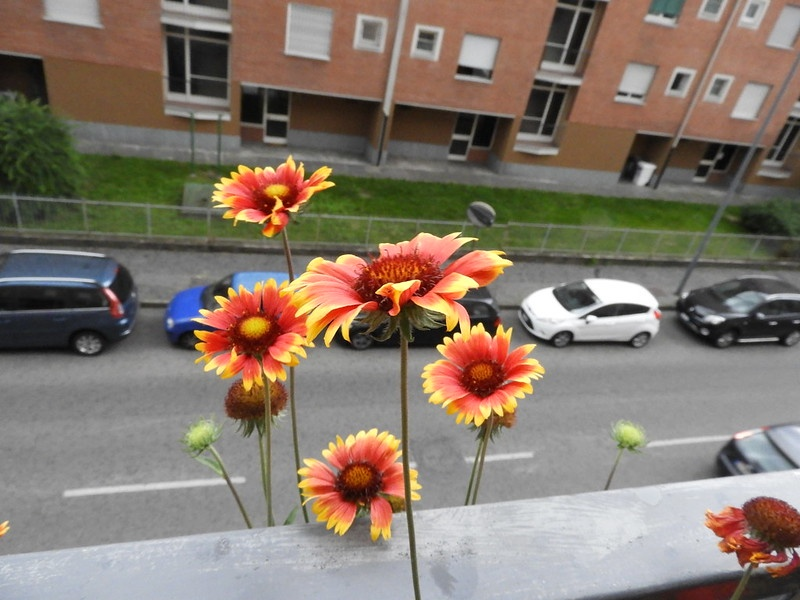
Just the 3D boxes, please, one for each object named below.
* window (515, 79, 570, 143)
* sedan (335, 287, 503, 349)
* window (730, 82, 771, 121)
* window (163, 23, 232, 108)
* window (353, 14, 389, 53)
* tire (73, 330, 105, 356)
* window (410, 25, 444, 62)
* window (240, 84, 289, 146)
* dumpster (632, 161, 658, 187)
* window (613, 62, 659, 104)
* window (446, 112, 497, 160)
[{"bbox_3d":[5.672,-7.558,26.328,2.248,2.144,0.157,9,34,-4],"label":"window"},{"bbox_3d":[0.626,0.379,14.922,2.987,1.130,1.746,-1,27,-5],"label":"sedan"},{"bbox_3d":[14.646,-8.270,27.740,1.268,1.293,0.313,6,27,-18],"label":"window"},{"bbox_3d":[-6.951,-8.049,22.655,2.812,3.128,0.316,3,37,-7],"label":"window"},{"bbox_3d":[-0.980,-8.999,22.454,1.085,1.205,0.161,8,42,-9],"label":"window"},{"bbox_3d":[-6.340,0.840,13.529,0.401,0.439,0.137,-14,34,-7],"label":"tire"},{"bbox_3d":[0.924,-8.895,23.012,1.042,1.170,0.154,7,35,-20],"label":"window"},{"bbox_3d":[-4.999,-6.852,24.393,2.281,2.992,0.385,1,40,-5],"label":"window"},{"bbox_3d":[10.522,-5.377,28.492,0.677,0.922,0.705,9,29,-17],"label":"dumpster"},{"bbox_3d":[9.142,-8.469,25.867,1.360,1.592,0.213,7,39,-19],"label":"window"},{"bbox_3d":[2.872,-6.663,26.785,1.947,2.421,0.277,-1,42,-15],"label":"window"}]
